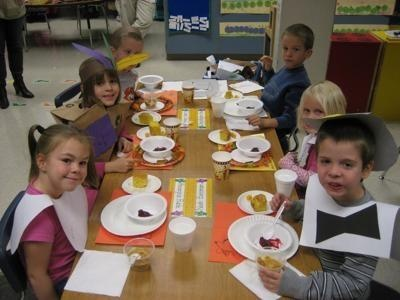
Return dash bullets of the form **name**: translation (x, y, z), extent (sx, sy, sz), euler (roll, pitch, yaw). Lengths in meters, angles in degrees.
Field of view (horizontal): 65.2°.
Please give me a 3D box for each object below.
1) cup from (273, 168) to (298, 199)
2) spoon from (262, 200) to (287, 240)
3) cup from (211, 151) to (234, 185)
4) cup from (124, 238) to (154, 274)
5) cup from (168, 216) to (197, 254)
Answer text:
- **cup**: translation (0.433, 0.167, 1.681), extent (0.132, 0.141, 0.134), euler (0, 33, 0)
- **spoon**: translation (0.344, 0.358, 1.474), extent (0.057, 0.052, 0.282), euler (19, 64, 15)
- **cup**: translation (0.123, 0.098, 1.843), extent (0.141, 0.147, 0.147), euler (-1, 34, 0)
- **cup**: translation (-0.273, 0.455, 1.368), extent (0.106, 0.083, 0.116), euler (3, 36, -2)
- **cup**: translation (-0.076, 0.364, 1.398), extent (0.129, 0.116, 0.138), euler (0, 33, 0)
